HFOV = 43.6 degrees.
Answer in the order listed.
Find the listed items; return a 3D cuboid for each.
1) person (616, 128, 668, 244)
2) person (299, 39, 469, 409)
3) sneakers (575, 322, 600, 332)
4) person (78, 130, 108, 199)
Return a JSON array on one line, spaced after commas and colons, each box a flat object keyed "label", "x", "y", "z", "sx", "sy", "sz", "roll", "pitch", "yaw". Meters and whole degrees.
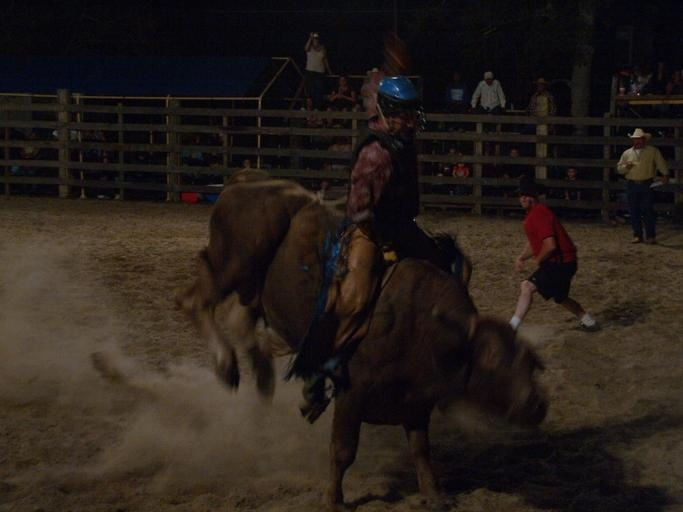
[{"label": "person", "x": 4.869, "y": -1.121, "z": 13.754, "sx": 0.816, "sy": 1.826, "sz": 0.905, "roll": 6, "pitch": 10, "yaw": 32}, {"label": "person", "x": 0.276, "y": -0.113, "z": 7.993, "sx": 1.344, "sy": 3.101, "sz": 0.468, "roll": -2, "pitch": 9, "yaw": -20}, {"label": "sneakers", "x": 3.230, "y": 0.934, "z": 11.191, "sx": 0.305, "sy": 0.126, "sz": 0.108, "roll": 6, "pitch": 29, "yaw": 39}, {"label": "person", "x": -5.305, "y": -2.001, "z": 18.430, "sx": 0.618, "sy": 1.381, "sz": 1.235, "roll": -2, "pitch": 9, "yaw": -17}]
